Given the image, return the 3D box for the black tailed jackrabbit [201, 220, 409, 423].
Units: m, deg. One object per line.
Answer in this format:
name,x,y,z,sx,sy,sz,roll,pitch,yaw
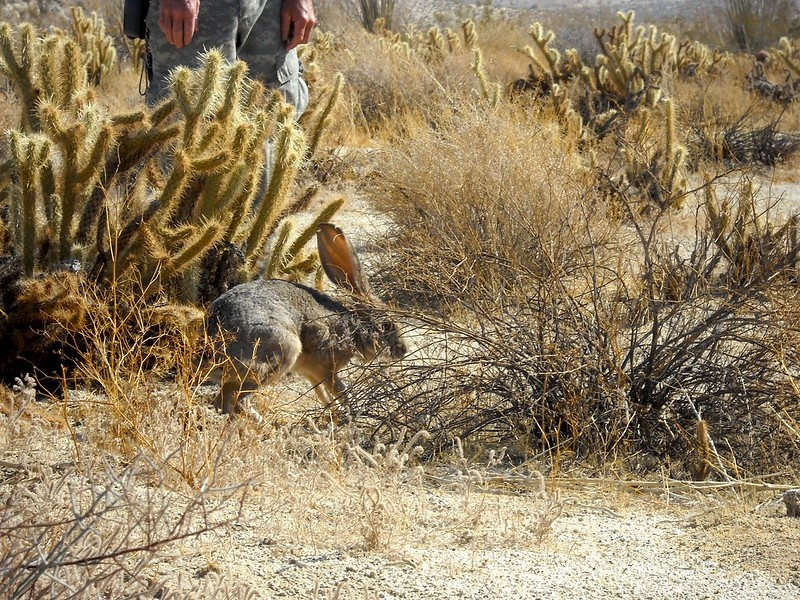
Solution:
black tailed jackrabbit,-0.588,0.089,4.407,1.018,1.071,0.524,1,-2,-21
